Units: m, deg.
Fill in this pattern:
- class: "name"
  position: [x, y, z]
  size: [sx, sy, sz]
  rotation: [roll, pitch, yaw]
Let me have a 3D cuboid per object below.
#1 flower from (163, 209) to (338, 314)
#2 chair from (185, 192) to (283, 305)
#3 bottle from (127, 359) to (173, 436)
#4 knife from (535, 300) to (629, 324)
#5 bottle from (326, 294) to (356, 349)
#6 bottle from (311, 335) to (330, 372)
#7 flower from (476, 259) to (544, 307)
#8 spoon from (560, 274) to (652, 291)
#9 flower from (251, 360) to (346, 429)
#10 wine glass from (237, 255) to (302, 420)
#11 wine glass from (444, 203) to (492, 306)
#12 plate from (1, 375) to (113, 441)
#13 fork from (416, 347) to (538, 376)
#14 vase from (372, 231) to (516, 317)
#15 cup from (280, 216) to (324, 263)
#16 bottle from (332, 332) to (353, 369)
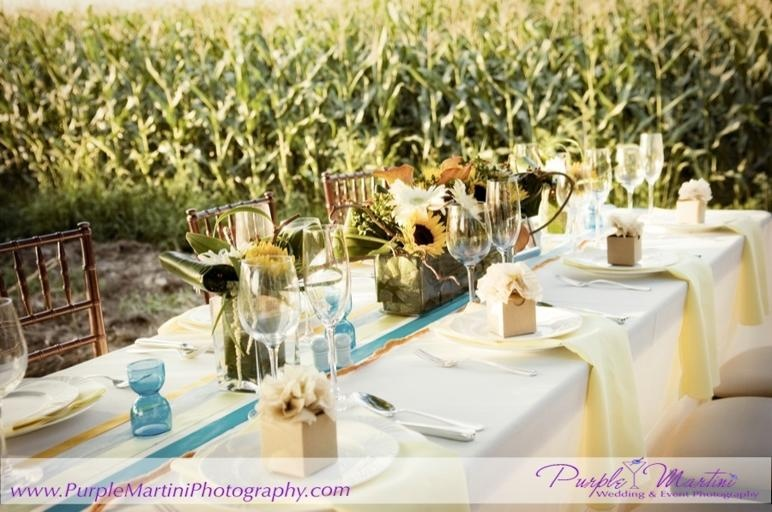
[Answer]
- class: "flower"
  position: [-0.337, -0.006, 1.349]
  size: [0.286, 0.118, 0.286]
  rotation: [-10, 10, -41]
- class: "chair"
  position: [-0.458, -0.107, 1.866]
  size: [0.201, 0.213, 0.292]
  rotation: [-22, 53, -2]
- class: "bottle"
  position: [-0.500, 0.292, 1.233]
  size: [0.099, 0.162, 0.096]
  rotation: [1, 4, 0]
- class: "knife"
  position: [0.496, 0.142, 1.503]
  size: [0.247, 0.036, 0.028]
  rotation: [6, 20, -15]
- class: "bottle"
  position: [-0.108, 0.155, 1.471]
  size: [0.058, 0.146, 0.058]
  rotation: [-4, 22, 2]
- class: "bottle"
  position: [-0.150, 0.227, 1.355]
  size: [0.039, 0.068, 0.041]
  rotation: [-5, -1, 0]
- class: "flower"
  position: [0.289, 0.058, 1.421]
  size: [0.108, 0.068, 0.110]
  rotation: [0, 3, -10]
- class: "spoon"
  position: [0.653, 0.079, 1.749]
  size: [0.223, 0.027, 0.030]
  rotation: [2, 19, 34]
- class: "flower"
  position: [-0.152, 0.233, 1.000]
  size: [0.100, 0.061, 0.104]
  rotation: [0, 2, 34]
- class: "wine glass"
  position: [-0.227, 0.169, 1.217]
  size: [0.126, 0.350, 0.123]
  rotation: [-3, 18, -1]
- class: "wine glass"
  position: [0.217, 0.008, 1.537]
  size: [0.111, 0.338, 0.113]
  rotation: [-6, 25, 5]
- class: "plate"
  position: [-0.718, 0.312, 1.284]
  size: [0.122, 0.018, 0.124]
  rotation: [-5, 15, 4]
- class: "fork"
  position: [0.211, 0.239, 1.339]
  size: [0.196, 0.028, 0.028]
  rotation: [7, 21, 28]
- class: "vase"
  position: [0.173, 0.057, 1.843]
  size: [0.160, 0.175, 0.476]
  rotation: [-2, 7, 37]
- class: "cup"
  position: [-0.180, -0.020, 1.436]
  size: [0.111, 0.113, 0.116]
  rotation: [-4, -9, -1]
- class: "bottle"
  position: [-0.103, 0.221, 1.395]
  size: [0.045, 0.075, 0.048]
  rotation: [-2, 10, 0]
